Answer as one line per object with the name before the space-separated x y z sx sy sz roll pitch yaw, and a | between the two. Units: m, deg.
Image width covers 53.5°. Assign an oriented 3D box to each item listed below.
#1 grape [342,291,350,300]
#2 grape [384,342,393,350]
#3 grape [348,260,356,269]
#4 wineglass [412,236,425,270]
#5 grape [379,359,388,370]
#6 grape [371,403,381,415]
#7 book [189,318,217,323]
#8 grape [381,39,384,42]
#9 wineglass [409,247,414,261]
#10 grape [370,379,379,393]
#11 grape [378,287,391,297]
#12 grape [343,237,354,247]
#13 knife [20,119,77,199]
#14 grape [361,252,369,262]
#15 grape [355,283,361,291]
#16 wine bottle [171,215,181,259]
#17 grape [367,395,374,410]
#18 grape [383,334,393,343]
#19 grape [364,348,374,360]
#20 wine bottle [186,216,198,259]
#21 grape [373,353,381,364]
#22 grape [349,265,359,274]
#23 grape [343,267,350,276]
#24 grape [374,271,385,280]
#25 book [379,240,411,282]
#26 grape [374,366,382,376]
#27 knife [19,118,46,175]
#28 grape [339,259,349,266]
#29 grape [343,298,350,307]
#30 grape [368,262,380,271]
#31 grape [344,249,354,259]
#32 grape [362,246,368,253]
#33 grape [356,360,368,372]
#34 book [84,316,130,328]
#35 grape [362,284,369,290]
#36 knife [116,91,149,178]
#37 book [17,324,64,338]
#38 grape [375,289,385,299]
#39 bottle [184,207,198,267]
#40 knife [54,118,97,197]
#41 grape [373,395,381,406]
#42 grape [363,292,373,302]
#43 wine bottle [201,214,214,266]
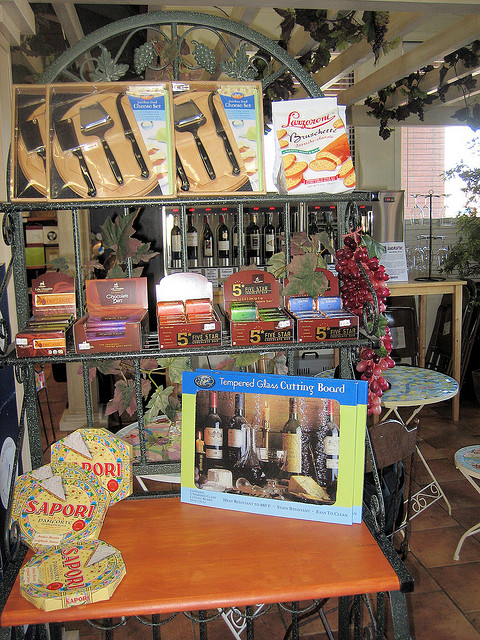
grape | 0.263 -0.062 1.192 0.017 0.017 0.010 -12 -21 35
grape | 0.371 0.064 1.186 0.019 0.013 0.023 -1 5 7
grape | 0.263 -0.131 1.126 0.016 0.019 0.016 8 3 10
wineglass | 1.888 -0.664 5.060 0.098 0.247 0.257 1 3 30
grape | 0.351 0.110 1.175 0.023 0.023 0.013 -17 25 -19
grape | 0.329 0.216 1.154 0.021 0.022 0.025 4 13 -22
book | -0.080 0.000 1.021 0.057 0.008 0.025 -1 3 -13
grape | 0.849 -1.685 2.858 0.009 0.012 0.022 1 4 35
wineglass | 1.818 -0.707 5.065 0.043 0.121 0.103 0 3 20
grape | 0.327 0.164 1.176 0.021 0.030 0.018 1 0 -33
grape | 0.348 -0.067 1.136 0.019 0.017 0.034 -36 17 -5
grape | 0.269 -0.196 1.180 0.019 0.023 0.019 2 19 22
knife | -0.406 -0.346 1.011 0.121 0.176 0.028 1 3 22
grape | 0.297 -0.150 1.132 0.015 0.022 0.016 -1 28 0
grape | 0.287 -0.082 1.164 0.008 0.015 0.012 0 31 -11
wine bottle | -0.606 -0.783 4.479 0.074 0.396 0.133 -1 3 -18
grape | 0.315 0.201 1.159 0.022 0.028 0.016 -3 8 -31
grape | 0.368 0.046 1.182 0.019 0.013 0.023 -5 -4 1
grape | 0.316 0.085 1.171 0.022 0.026 0.014 0 3 14
wine bottle | -0.445 -0.780 4.463 0.088 0.396 0.193 -1 3 -4
grape | 0.335 0.096 1.169 0.009 0.016 0.019 9 -14 27
grape | 0.269 -0.122 1.124 0.012 0.017 0.035 -2 3 -29
grape | 0.258 -0.119 1.157 0.009 0.019 0.021 -2 3 -18
grape | 0.330 -0.107 1.129 0.010 0.020 0.028 -3 4 -42
book | 1.470 -0.564 4.540 0.224 0.403 0.414 0 3 16
grape | 0.335 0.124 1.161 0.016 0.021 0.016 -7 2 19
knife | -0.444 -0.372 1.020 0.057 0.102 0.036 -9 11 -25
grape | 0.251 -0.141 1.159 0.019 0.010 0.019 -4 2 8
grape | 0.266 -0.046 1.193 0.008 0.015 0.015 7 -30 -44
grape | 0.316 -0.125 1.138 0.017 0.012 0.022 -13 -39 9
grape | 0.267 -0.163 1.170 0.017 0.021 0.012 0 -36 19
grape | 0.299 -0.170 1.148 0.019 0.015 0.020 16 13 34
grape | 0.305 0.112 1.192 0.017 0.016 0.033 24 56 13
book | -0.294 0.003 1.055 0.094 0.021 0.099 -1 3 -5
grape | 0.298 -0.079 1.137 0.011 0.014 0.011 7 4 7
knife | -0.236 -0.407 1.041 0.080 0.196 0.019 1 3 33
book | -0.415 0.022 1.000 0.088 0.022 0.102 -2 3 -19
grape | 0.323 -0.062 1.104 0.019 0.019 0.018 0 3 8
bottle | -0.444 -0.779 4.417 0.094 0.554 0.287 -1 3 -2
knife | -0.351 -0.350 1.019 0.091 0.173 0.024 0 3 19
grape | 0.336 0.199 1.186 0.017 0.023 0.017 -10 -22 -22
grape | 0.301 -0.053 1.110 0.020 0.006 0.021 -18 32 8
wine bottle | -0.308 -0.773 4.574 0.110 0.500 0.162 -1 3 -5
